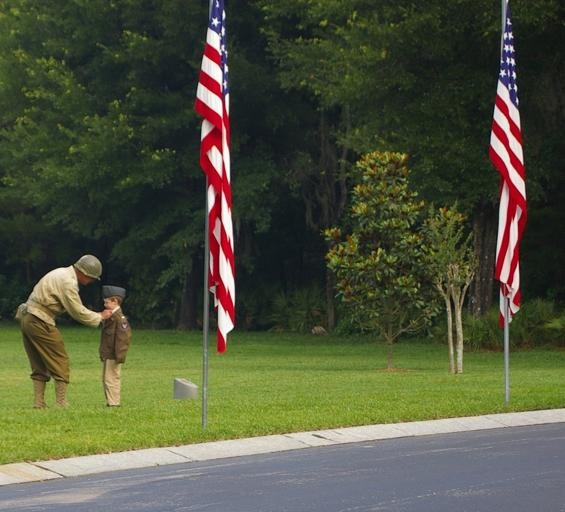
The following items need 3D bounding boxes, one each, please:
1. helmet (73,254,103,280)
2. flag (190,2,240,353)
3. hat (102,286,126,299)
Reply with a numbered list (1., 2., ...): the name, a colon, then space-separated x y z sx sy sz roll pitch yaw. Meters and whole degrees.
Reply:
1. helmet: -4.071 0.248 32.428 0.517 0.319 0.481 34 18 -12
2. flag: -1.344 -1.632 31.187 0.829 7.014 0.659 2 -5 -22
3. hat: -3.617 0.758 32.753 0.357 0.246 0.299 -3 0 4
